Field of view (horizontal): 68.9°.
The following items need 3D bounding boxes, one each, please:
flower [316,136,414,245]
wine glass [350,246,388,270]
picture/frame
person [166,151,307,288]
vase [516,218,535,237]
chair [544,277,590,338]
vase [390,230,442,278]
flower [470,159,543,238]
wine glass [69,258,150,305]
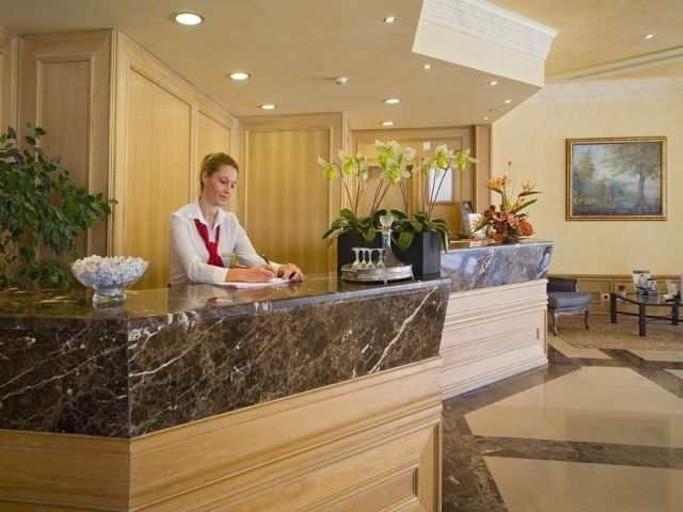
[{"bbox_3d":[0.156,-0.386,2.953,0.476,0.484,0.469,10,2,34],"label":"flower"},{"bbox_3d":[0.146,0.014,2.647,0.147,0.087,0.133,-1,-1,-31],"label":"wine glass"},{"bbox_3d":[4.530,-1.280,8.066,1.391,1.195,0.097,-1,4,6],"label":"picture/frame"},{"bbox_3d":[-0.766,-0.156,3.527,1.029,1.080,0.795,8,4,44],"label":"person"},{"bbox_3d":[1.895,-0.294,5.161,0.147,0.207,0.227,2,7,19],"label":"vase"},{"bbox_3d":[3.150,0.660,7.164,0.722,0.766,0.699,-3,-1,-39],"label":"chair"},{"bbox_3d":[0.461,-0.017,2.880,0.303,0.247,0.272,-1,6,-5],"label":"vase"},{"bbox_3d":[2.062,-0.868,6.220,0.936,0.409,1.056,-14,-37,23],"label":"flower"},{"bbox_3d":[-0.941,0.086,2.085,0.235,0.134,0.234,1,-4,-3],"label":"wine glass"}]
